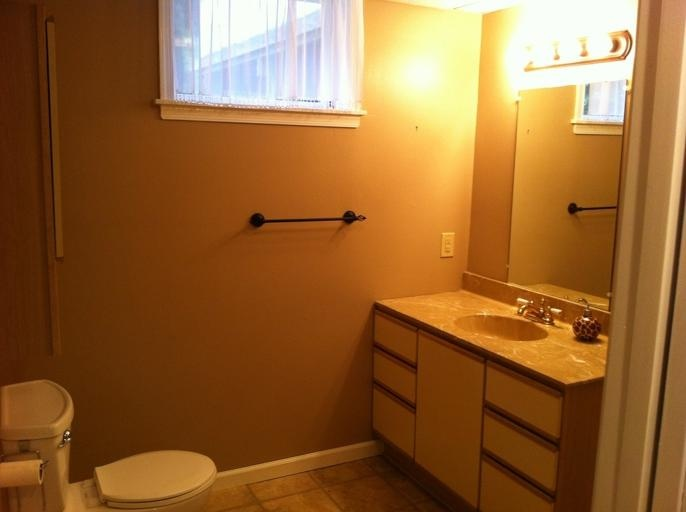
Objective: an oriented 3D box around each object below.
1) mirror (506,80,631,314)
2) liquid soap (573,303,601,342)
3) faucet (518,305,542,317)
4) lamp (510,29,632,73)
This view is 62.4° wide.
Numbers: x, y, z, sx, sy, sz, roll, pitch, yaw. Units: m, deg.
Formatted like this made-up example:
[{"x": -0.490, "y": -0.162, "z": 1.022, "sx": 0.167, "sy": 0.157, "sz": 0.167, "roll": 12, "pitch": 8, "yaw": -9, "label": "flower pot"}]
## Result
[{"x": 1.048, "y": -0.300, "z": 2.725, "sx": 0.091, "sy": 1.000, "sz": 0.647, "roll": -8, "pitch": 14, "yaw": -27, "label": "mirror"}, {"x": 1.079, "y": 0.292, "z": 2.497, "sx": 0.121, "sy": 0.195, "sz": 0.129, "roll": 0, "pitch": 4, "yaw": -16, "label": "liquid soap"}, {"x": 0.926, "y": 0.278, "z": 2.793, "sx": 0.062, "sy": 0.036, "sz": 0.085, "roll": -4, "pitch": 6, "yaw": -24, "label": "faucet"}, {"x": 1.057, "y": -0.943, "z": 2.616, "sx": 0.054, "sy": 0.138, "sz": 0.574, "roll": -10, "pitch": 15, "yaw": -33, "label": "lamp"}]
